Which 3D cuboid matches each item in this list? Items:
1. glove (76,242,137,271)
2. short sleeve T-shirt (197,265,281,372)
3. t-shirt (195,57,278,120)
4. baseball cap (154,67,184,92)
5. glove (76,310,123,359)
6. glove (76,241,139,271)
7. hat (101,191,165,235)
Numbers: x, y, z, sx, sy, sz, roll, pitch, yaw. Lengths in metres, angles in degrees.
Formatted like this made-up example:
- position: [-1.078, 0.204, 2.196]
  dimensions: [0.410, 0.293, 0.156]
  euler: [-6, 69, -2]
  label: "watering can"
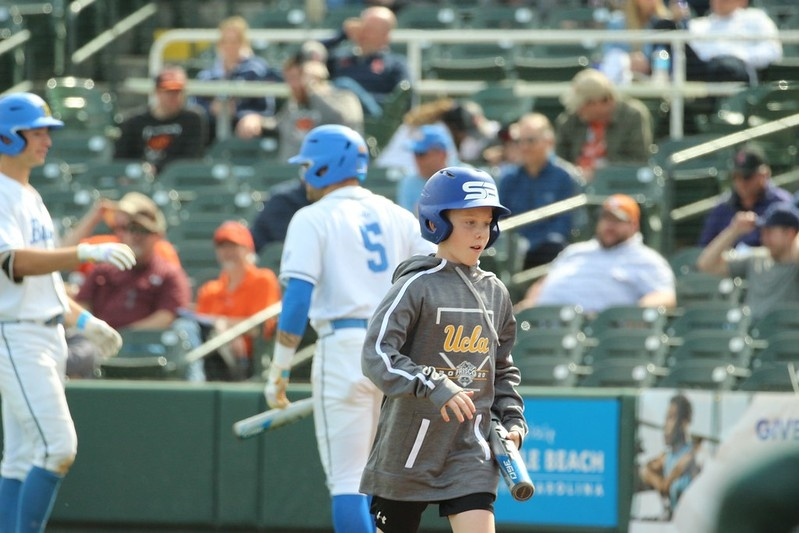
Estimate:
- position: [-2.210, -0.079, 14.010]
  dimensions: [0.363, 0.098, 0.207]
  euler: [4, 39, -2]
  label: "glove"
- position: [-1.327, 0.467, 15.689]
  dimensions: [0.784, 0.806, 0.438]
  euler: [-6, -32, 18]
  label: "short sleeve T-shirt"
- position: [-1.598, -1.860, 19.030]
  dimensions: [0.851, 0.601, 0.368]
  euler: [-10, -33, -10]
  label: "t-shirt"
- position: [-2.229, -1.874, 18.418]
  dimensions: [0.240, 0.240, 0.317]
  euler: [2, -5, -23]
  label: "baseball cap"
- position: [-2.354, 0.518, 14.683]
  dimensions: [0.268, 0.455, 0.176]
  euler: [-46, 8, -12]
  label: "glove"
- position: [-2.193, -0.089, 14.005]
  dimensions: [0.364, 0.097, 0.208]
  euler: [3, 35, -4]
  label: "glove"
- position: [-2.275, -0.484, 16.238]
  dimensions: [0.458, 0.144, 0.465]
  euler: [38, 16, 26]
  label: "hat"
